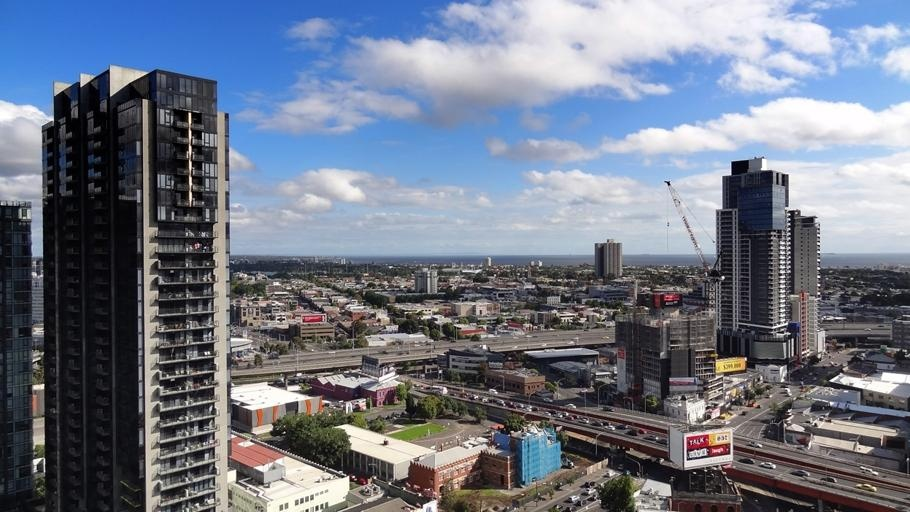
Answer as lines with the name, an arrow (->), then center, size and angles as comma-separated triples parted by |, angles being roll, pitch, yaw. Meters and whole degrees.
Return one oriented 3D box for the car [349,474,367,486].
car -> -19.763, 45.836, 140.165 | 2.904, 0.763, 1.902 | 11, 7, 38
